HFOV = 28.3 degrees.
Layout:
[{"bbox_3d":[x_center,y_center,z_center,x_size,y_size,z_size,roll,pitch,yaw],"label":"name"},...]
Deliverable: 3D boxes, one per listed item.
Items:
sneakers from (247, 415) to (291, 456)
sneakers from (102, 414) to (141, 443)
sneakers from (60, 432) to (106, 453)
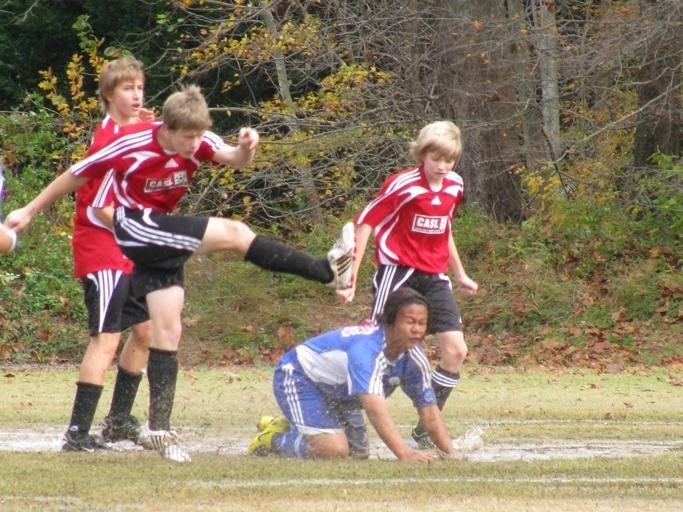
[{"bbox_3d":[-0.764,1.792,13.812,0.264,0.460,0.162,2,-40,50],"label":"sneakers"},{"bbox_3d":[-2.265,1.757,13.909,0.349,0.258,0.266,1,-6,18],"label":"sneakers"},{"bbox_3d":[-2.626,1.849,13.741,0.507,0.214,0.177,-2,7,-16],"label":"sneakers"}]
